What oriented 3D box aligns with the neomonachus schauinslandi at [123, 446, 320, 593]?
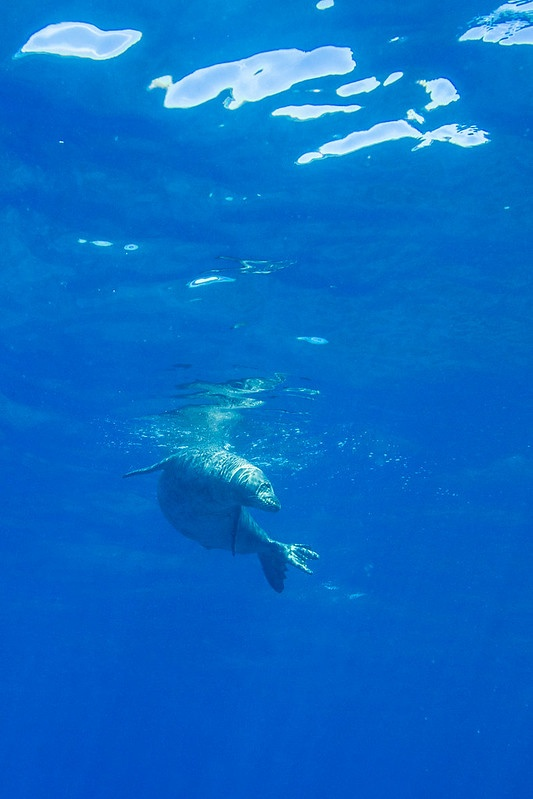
[{"bbox_3d":[-0.569,1.959,15.588,2.553,2.276,0.986,17,31,36],"label":"neomonachus schauinslandi"}]
